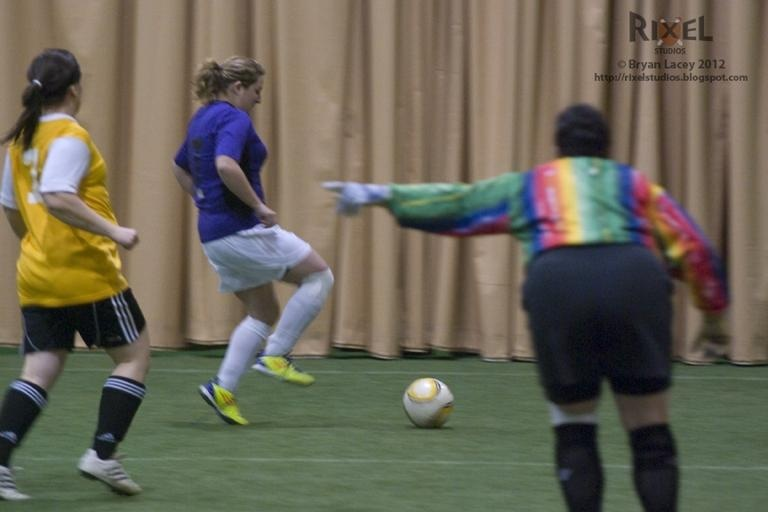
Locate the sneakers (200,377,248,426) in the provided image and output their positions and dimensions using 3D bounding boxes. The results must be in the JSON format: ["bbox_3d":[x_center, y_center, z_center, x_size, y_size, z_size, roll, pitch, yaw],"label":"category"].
[{"bbox_3d":[-0.896,0.833,5.971,0.293,0.283,0.122,-3,9,-23],"label":"sneakers"}]

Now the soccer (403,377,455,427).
[{"bbox_3d":[0.256,0.849,6.002,0.313,0.308,0.332,-6,-11,43],"label":"soccer"}]

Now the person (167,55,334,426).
[{"bbox_3d":[-0.753,-0.086,6.068,0.862,2.091,0.533,-1,9,-12],"label":"person"}]

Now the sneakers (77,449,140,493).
[{"bbox_3d":[-1.255,1.007,4.852,0.107,0.265,0.285,7,10,38],"label":"sneakers"}]

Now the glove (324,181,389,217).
[{"bbox_3d":[-0.108,-0.252,4.533,0.145,0.083,0.229,-6,-1,-40],"label":"glove"}]

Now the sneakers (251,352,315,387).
[{"bbox_3d":[-0.599,0.683,6.317,0.377,0.166,0.143,20,1,-21],"label":"sneakers"}]
